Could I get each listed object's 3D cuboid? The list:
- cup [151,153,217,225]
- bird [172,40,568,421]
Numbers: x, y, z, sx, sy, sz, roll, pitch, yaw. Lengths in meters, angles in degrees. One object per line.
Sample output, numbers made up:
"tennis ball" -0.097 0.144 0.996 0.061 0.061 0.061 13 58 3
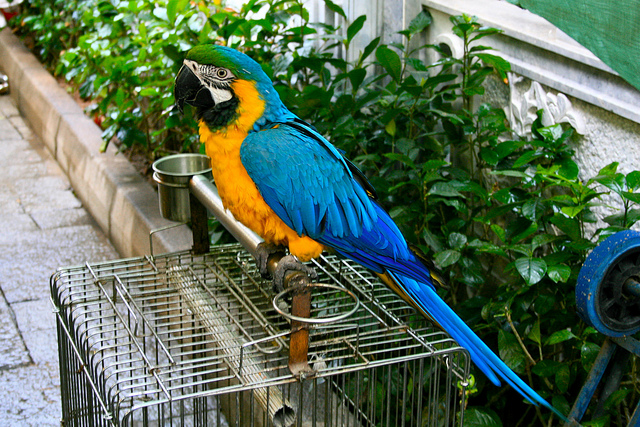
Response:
"cup" -0.584 -0.088 2.863 0.217 0.202 0.235 0 16 0
"bird" 0.239 0.099 2.673 1.636 1.023 0.502 33 38 13
